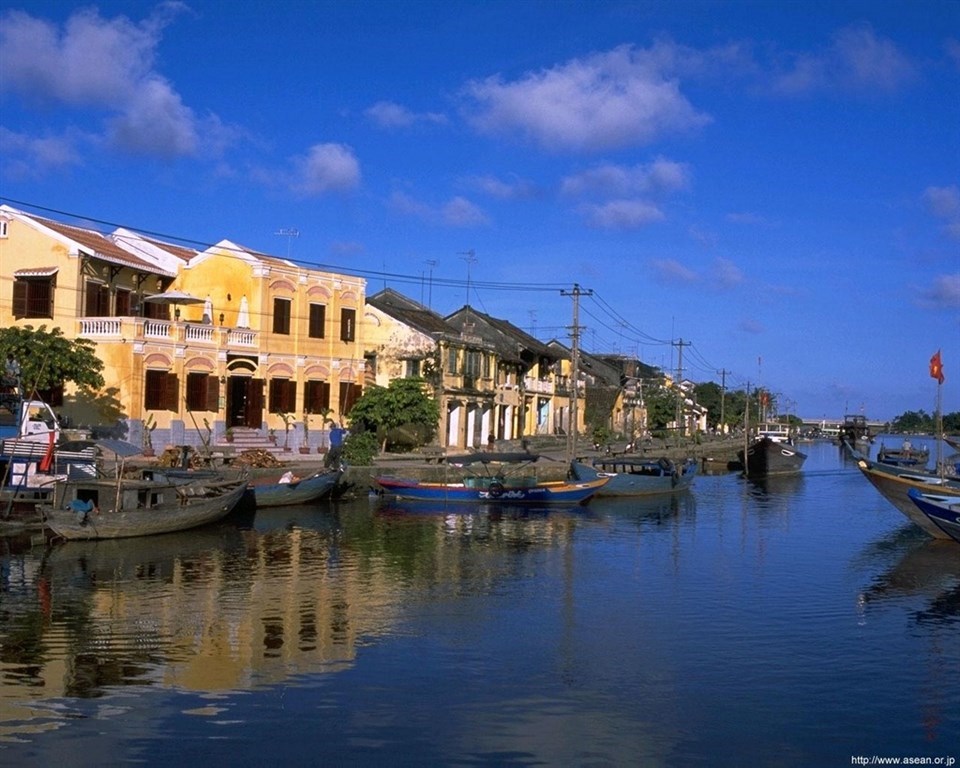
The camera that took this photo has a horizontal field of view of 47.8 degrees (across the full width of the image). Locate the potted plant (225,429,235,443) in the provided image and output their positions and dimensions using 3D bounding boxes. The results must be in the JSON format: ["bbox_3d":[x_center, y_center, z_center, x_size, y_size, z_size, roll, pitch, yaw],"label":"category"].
[{"bbox_3d":[-12.241,2.602,54.194,0.684,0.541,0.616,0,2,14],"label":"potted plant"}]

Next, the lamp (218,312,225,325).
[{"bbox_3d":[-13.564,-3.552,57.813,0.249,0.646,1.062,1,4,-13],"label":"lamp"}]

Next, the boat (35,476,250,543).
[{"bbox_3d":[-11.585,4.234,37.113,1.464,2.327,6.624,6,6,39],"label":"boat"}]

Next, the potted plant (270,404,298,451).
[{"bbox_3d":[-10.317,2.435,57.992,1.458,2.220,1.919,1,5,-11],"label":"potted plant"}]
